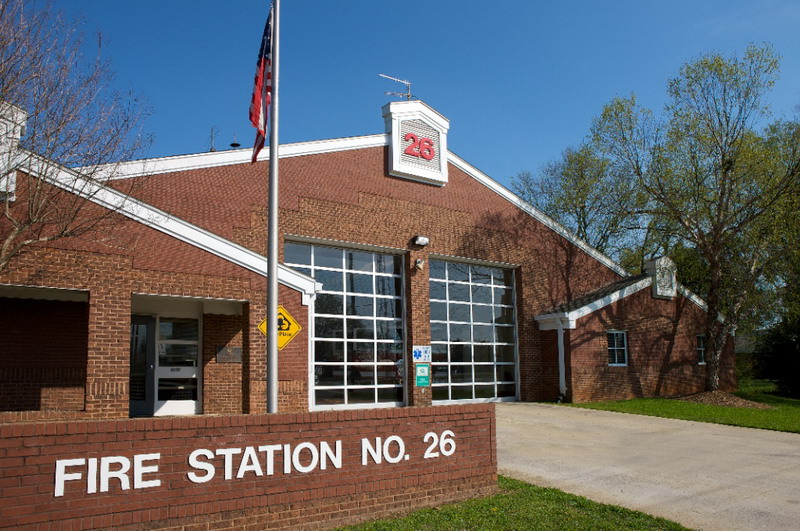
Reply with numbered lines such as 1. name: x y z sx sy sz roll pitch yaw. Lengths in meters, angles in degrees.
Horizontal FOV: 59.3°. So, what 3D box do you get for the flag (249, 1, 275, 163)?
1. flag: -3.292 -4.272 16.719 0.497 3.614 1.703 1 8 -11
